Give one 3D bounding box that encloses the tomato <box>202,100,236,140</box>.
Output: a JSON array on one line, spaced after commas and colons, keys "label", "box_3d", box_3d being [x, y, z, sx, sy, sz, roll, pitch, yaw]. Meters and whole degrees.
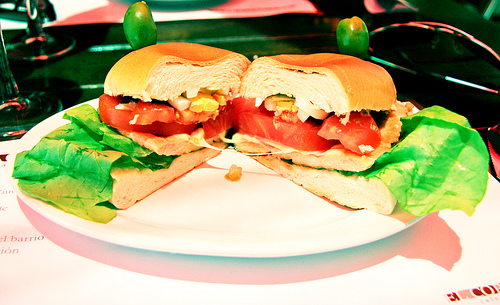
[{"label": "tomato", "box_3d": [-0.288, -0.308, 4.154, 0.304, 0.404, 0.119, 39, 12, -51]}]
